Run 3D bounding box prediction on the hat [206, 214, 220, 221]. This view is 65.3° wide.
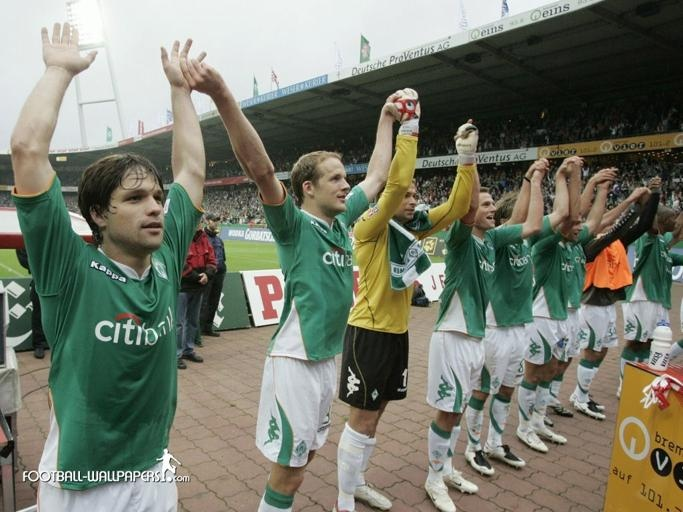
[{"bbox_3d":[-2.299,-0.707,9.618,0.191,0.113,0.306,18,-1,-34],"label":"hat"}]

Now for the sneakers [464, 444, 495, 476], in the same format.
[{"bbox_3d":[1.359,2.019,5.260,0.139,0.150,0.289,3,3,-36],"label":"sneakers"}]
